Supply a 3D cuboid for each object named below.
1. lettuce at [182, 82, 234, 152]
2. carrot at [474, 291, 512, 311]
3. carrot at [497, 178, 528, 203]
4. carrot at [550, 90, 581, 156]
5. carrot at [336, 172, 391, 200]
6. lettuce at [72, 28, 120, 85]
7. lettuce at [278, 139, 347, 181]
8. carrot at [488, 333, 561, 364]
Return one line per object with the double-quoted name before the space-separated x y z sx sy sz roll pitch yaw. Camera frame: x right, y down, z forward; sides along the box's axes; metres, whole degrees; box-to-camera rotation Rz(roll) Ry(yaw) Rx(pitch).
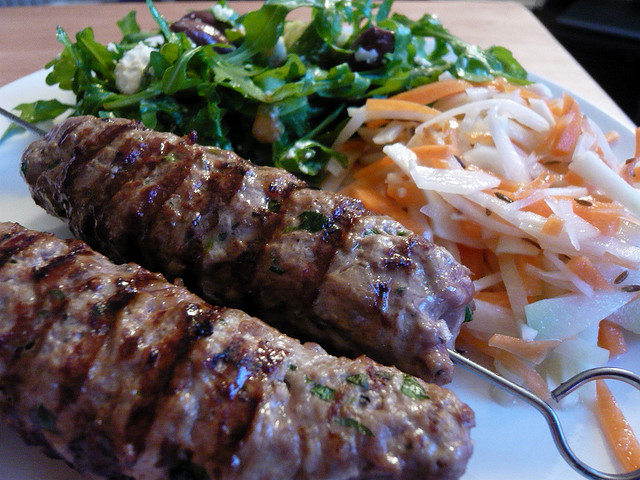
"lettuce" -0.605 -0.662 3.372 0.277 0.310 0.296 34 46 29
"carrot" 0.821 0.276 2.978 0.107 0.033 0.102 12 36 11
"carrot" 0.928 -0.233 3.066 0.134 0.036 0.099 -25 29 -38
"carrot" 1.315 -0.614 3.375 0.155 0.153 0.523 5 47 14
"carrot" 0.206 -0.306 3.349 0.303 0.138 0.175 -14 18 -38
"lettuce" -1.265 -1.028 3.653 0.094 0.402 0.148 8 59 50
"lettuce" -0.072 -0.426 3.447 0.282 0.201 0.369 2 12 43
"carrot" 0.894 0.477 2.823 0.327 0.080 0.123 4 52 8
